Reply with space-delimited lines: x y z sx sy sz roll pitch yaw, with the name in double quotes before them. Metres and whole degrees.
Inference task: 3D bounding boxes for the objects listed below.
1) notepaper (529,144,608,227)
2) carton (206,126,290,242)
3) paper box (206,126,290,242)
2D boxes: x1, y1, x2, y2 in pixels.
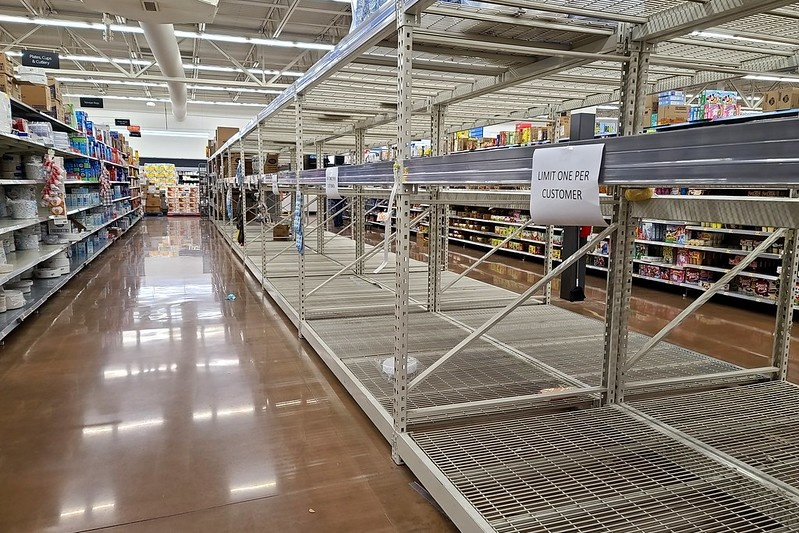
"notepaper" 0.840 -0.415 2.505 0.116 0.394 0.423 -13 16 -43
"carton" -3.704 -1.928 12.107 1.314 3.570 4.061 -6 12 -25
"paper box" -3.704 -1.928 12.107 1.314 3.570 4.061 -6 12 -25
